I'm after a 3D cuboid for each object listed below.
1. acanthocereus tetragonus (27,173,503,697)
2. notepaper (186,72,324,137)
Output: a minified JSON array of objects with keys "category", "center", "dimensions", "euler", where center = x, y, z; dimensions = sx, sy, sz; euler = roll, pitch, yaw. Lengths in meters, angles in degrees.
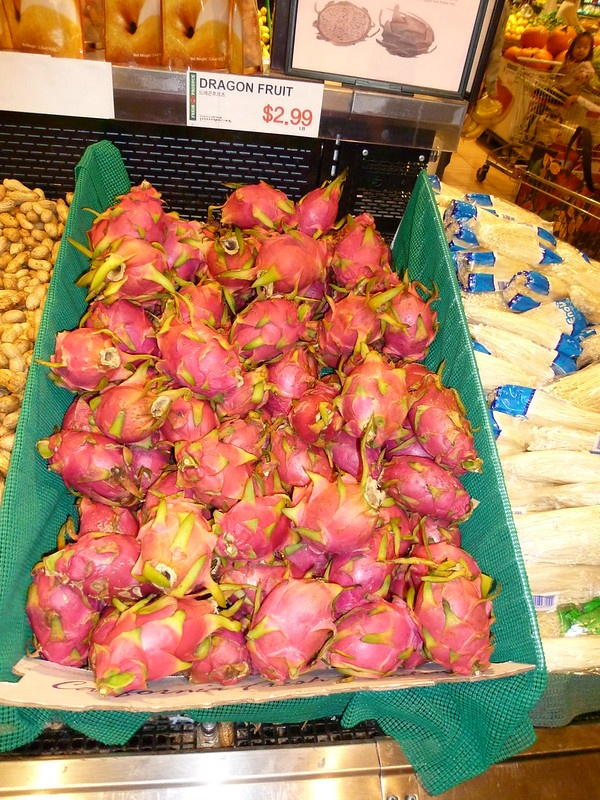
[{"category":"acanthocereus tetragonus","center":[-0.074,0.006,0.965],"dimensions":[0.670,0.274,0.802],"euler":[-1,59,-13]},{"category":"notepaper","center":[-0.074,-0.560,1.133],"dimensions":[0.278,0.089,0.081],"euler":[13,30,14]}]
